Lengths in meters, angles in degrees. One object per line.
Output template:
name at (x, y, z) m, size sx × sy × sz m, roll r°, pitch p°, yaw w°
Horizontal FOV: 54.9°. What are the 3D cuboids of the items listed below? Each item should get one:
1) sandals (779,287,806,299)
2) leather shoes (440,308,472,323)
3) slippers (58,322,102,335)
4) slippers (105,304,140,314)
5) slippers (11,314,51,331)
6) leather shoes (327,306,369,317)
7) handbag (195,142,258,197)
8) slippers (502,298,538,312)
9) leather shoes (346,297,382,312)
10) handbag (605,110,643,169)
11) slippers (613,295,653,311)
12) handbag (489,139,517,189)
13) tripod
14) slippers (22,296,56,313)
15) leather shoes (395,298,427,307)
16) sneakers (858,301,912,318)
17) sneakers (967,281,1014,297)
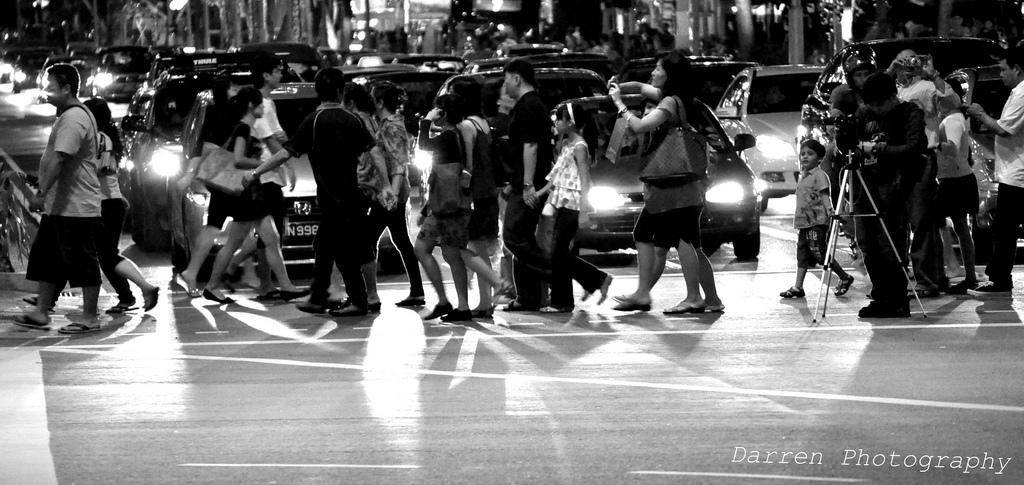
sandals at (4.165, 0.771, 14.647) m, size 0.352 × 0.157 × 0.148 m, roll 0°, pitch 5°, yaw 0°
leather shoes at (-0.787, 1.047, 13.770) m, size 0.458 × 0.173 × 0.167 m, roll 0°, pitch 4°, yaw -6°
slippers at (-5.913, 1.200, 13.455) m, size 0.433 × 0.106 × 0.200 m, roll 0°, pitch 1°, yaw -22°
slippers at (-5.689, 1.014, 14.546) m, size 0.551 × 0.164 × 0.230 m, roll 0°, pitch -6°, yaw 4°
slippers at (-6.597, 1.101, 13.606) m, size 0.501 × 0.179 × 0.195 m, roll 9°, pitch -1°, yaw 2°
leather shoes at (-2.338, 0.958, 14.039) m, size 0.566 × 0.218 × 0.206 m, roll 1°, pitch 2°, yaw 4°
handbag at (-4.318, -1.095, 14.811) m, size 0.761 × 0.746 × 0.275 m, roll 26°, pitch -11°, yaw 4°
slippers at (0.141, 0.911, 14.239) m, size 0.539 × 0.156 × 0.194 m, roll 1°, pitch 3°, yaw 5°
leather shoes at (-2.120, 0.950, 14.079) m, size 0.549 × 0.219 × 0.199 m, roll 1°, pitch 35°, yaw -1°
handbag at (1.744, -1.540, 15.154) m, size 0.339 × 0.749 × 1.004 m, roll -12°, pitch -12°, yaw -6°
slippers at (1.720, 0.896, 13.945) m, size 0.356 × 0.121 × 0.260 m, roll 6°, pitch 3°, yaw 3°
handbag at (-0.152, -1.154, 14.008) m, size 0.298 × 0.679 × 0.547 m, roll -2°, pitch 14°, yaw -5°
tripod at (5.008, -0.153, 13.636) m, size 1.454 × 2.328 × 1.305 m, roll 1°, pitch 14°, yaw 8°
slippers at (-6.680, 0.902, 13.939) m, size 0.456 × 0.180 × 0.181 m, roll 23°, pitch 2°, yaw 7°
leather shoes at (-1.487, 0.905, 14.497) m, size 0.433 × 0.203 × 0.146 m, roll 2°, pitch 4°, yaw 3°
sneakers at (5.073, 0.930, 13.476) m, size 0.675 × 0.280 × 0.261 m, roll 2°, pitch 5°, yaw 4°
sneakers at (7.046, 0.694, 14.490) m, size 0.556 × 0.195 × 0.223 m, roll 3°, pitch 3°, yaw 8°
